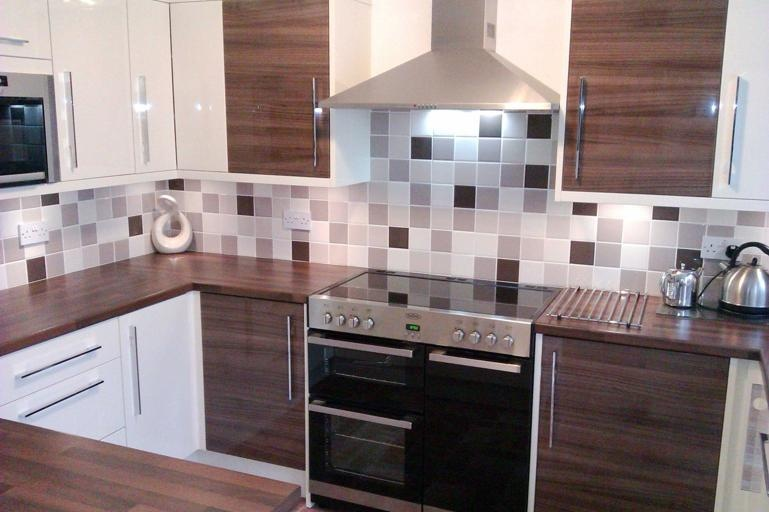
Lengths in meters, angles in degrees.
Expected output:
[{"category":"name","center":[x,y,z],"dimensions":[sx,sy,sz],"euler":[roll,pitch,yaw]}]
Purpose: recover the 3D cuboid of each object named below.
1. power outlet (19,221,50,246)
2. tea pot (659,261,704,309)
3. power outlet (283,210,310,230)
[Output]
[{"category":"power outlet","center":[-1.957,-0.127,3.283],"dimensions":[0.019,0.096,0.141],"euler":[2,8,32]},{"category":"tea pot","center":[1.499,0.152,3.010],"dimensions":[0.174,0.189,0.156],"euler":[7,15,27]},{"category":"power outlet","center":[-0.558,-0.232,3.751],"dimensions":[0.131,0.086,0.009],"euler":[6,16,15]}]
